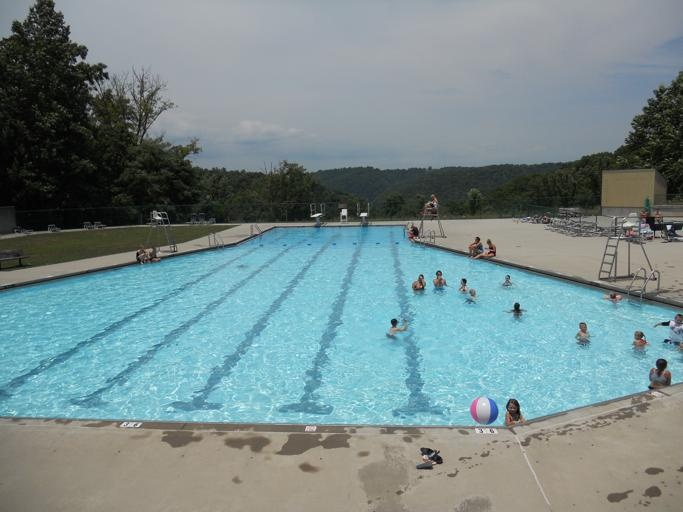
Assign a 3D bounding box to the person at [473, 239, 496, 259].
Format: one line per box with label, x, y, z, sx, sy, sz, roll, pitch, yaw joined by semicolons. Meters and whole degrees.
person;5.670;-0.275;17.755;0.816;0.831;0.970;-3;13;-6
